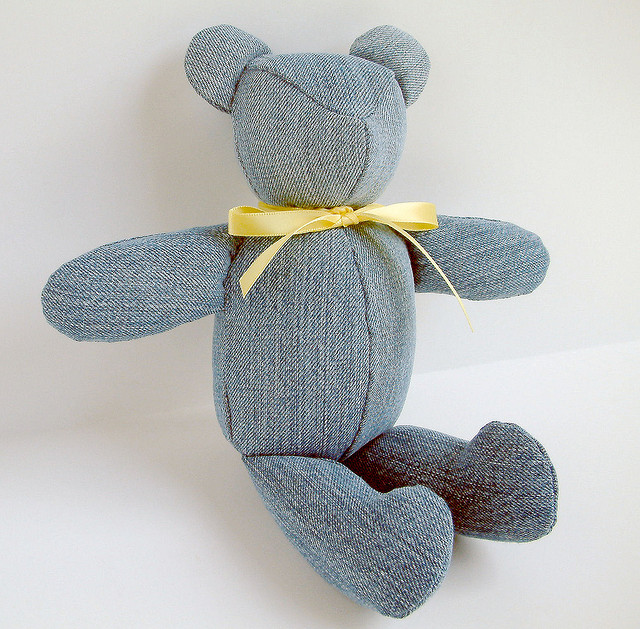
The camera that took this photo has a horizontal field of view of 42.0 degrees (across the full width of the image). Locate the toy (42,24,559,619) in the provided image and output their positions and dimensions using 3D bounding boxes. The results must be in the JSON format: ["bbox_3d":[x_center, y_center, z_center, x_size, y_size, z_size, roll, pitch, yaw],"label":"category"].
[{"bbox_3d":[0.015,-0.019,1.192,0.895,0.757,0.472,-3,16,-16],"label":"toy"}]

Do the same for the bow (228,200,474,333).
[{"bbox_3d":[0.034,-0.071,1.164,0.284,0.188,0.030,-1,-42,-7],"label":"bow"}]
